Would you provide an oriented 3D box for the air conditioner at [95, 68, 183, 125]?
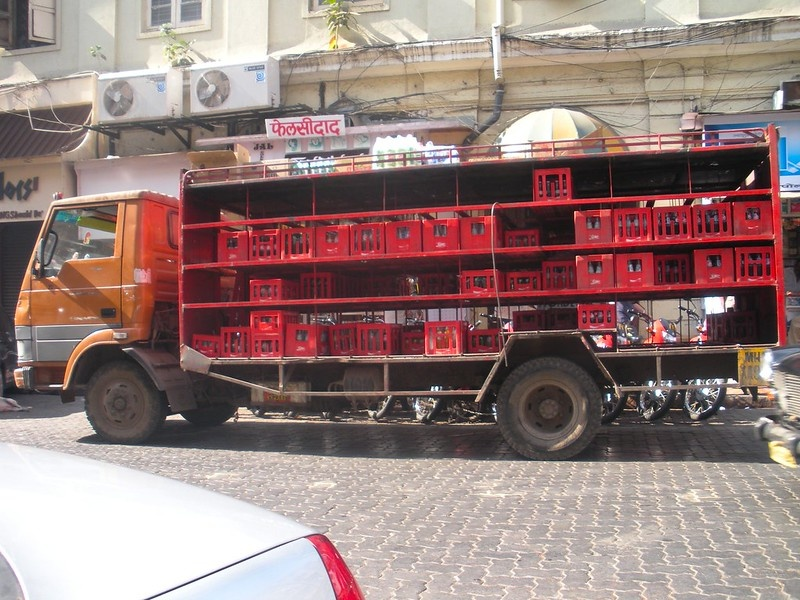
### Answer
[{"bbox_3d":[-5.541,-4.309,19.640,2.104,1.052,0.729,2,6,28],"label":"air conditioner"}]

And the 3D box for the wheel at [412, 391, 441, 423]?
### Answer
[{"bbox_3d":[0.379,1.596,13.358,0.581,0.503,0.480,6,-2,3],"label":"wheel"}]

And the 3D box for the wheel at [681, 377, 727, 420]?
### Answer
[{"bbox_3d":[4.118,1.323,12.421,0.133,0.701,0.752,16,-26,-33],"label":"wheel"}]

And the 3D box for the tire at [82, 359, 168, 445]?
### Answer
[{"bbox_3d":[-3.638,1.373,12.319,1.418,1.173,0.457,4,4,28],"label":"tire"}]

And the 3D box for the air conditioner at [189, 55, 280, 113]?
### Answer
[{"bbox_3d":[-3.428,-4.391,19.002,2.078,1.004,0.716,4,7,30],"label":"air conditioner"}]

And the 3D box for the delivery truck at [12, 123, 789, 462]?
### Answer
[{"bbox_3d":[-0.023,-0.059,12.663,10.068,3.318,3.336,-1,0,11],"label":"delivery truck"}]

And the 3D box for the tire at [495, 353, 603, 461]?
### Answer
[{"bbox_3d":[1.779,1.240,10.829,1.524,1.227,0.479,-1,-5,6],"label":"tire"}]

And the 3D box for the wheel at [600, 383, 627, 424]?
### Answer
[{"bbox_3d":[2.898,1.305,12.513,0.258,0.667,0.732,3,19,16],"label":"wheel"}]
